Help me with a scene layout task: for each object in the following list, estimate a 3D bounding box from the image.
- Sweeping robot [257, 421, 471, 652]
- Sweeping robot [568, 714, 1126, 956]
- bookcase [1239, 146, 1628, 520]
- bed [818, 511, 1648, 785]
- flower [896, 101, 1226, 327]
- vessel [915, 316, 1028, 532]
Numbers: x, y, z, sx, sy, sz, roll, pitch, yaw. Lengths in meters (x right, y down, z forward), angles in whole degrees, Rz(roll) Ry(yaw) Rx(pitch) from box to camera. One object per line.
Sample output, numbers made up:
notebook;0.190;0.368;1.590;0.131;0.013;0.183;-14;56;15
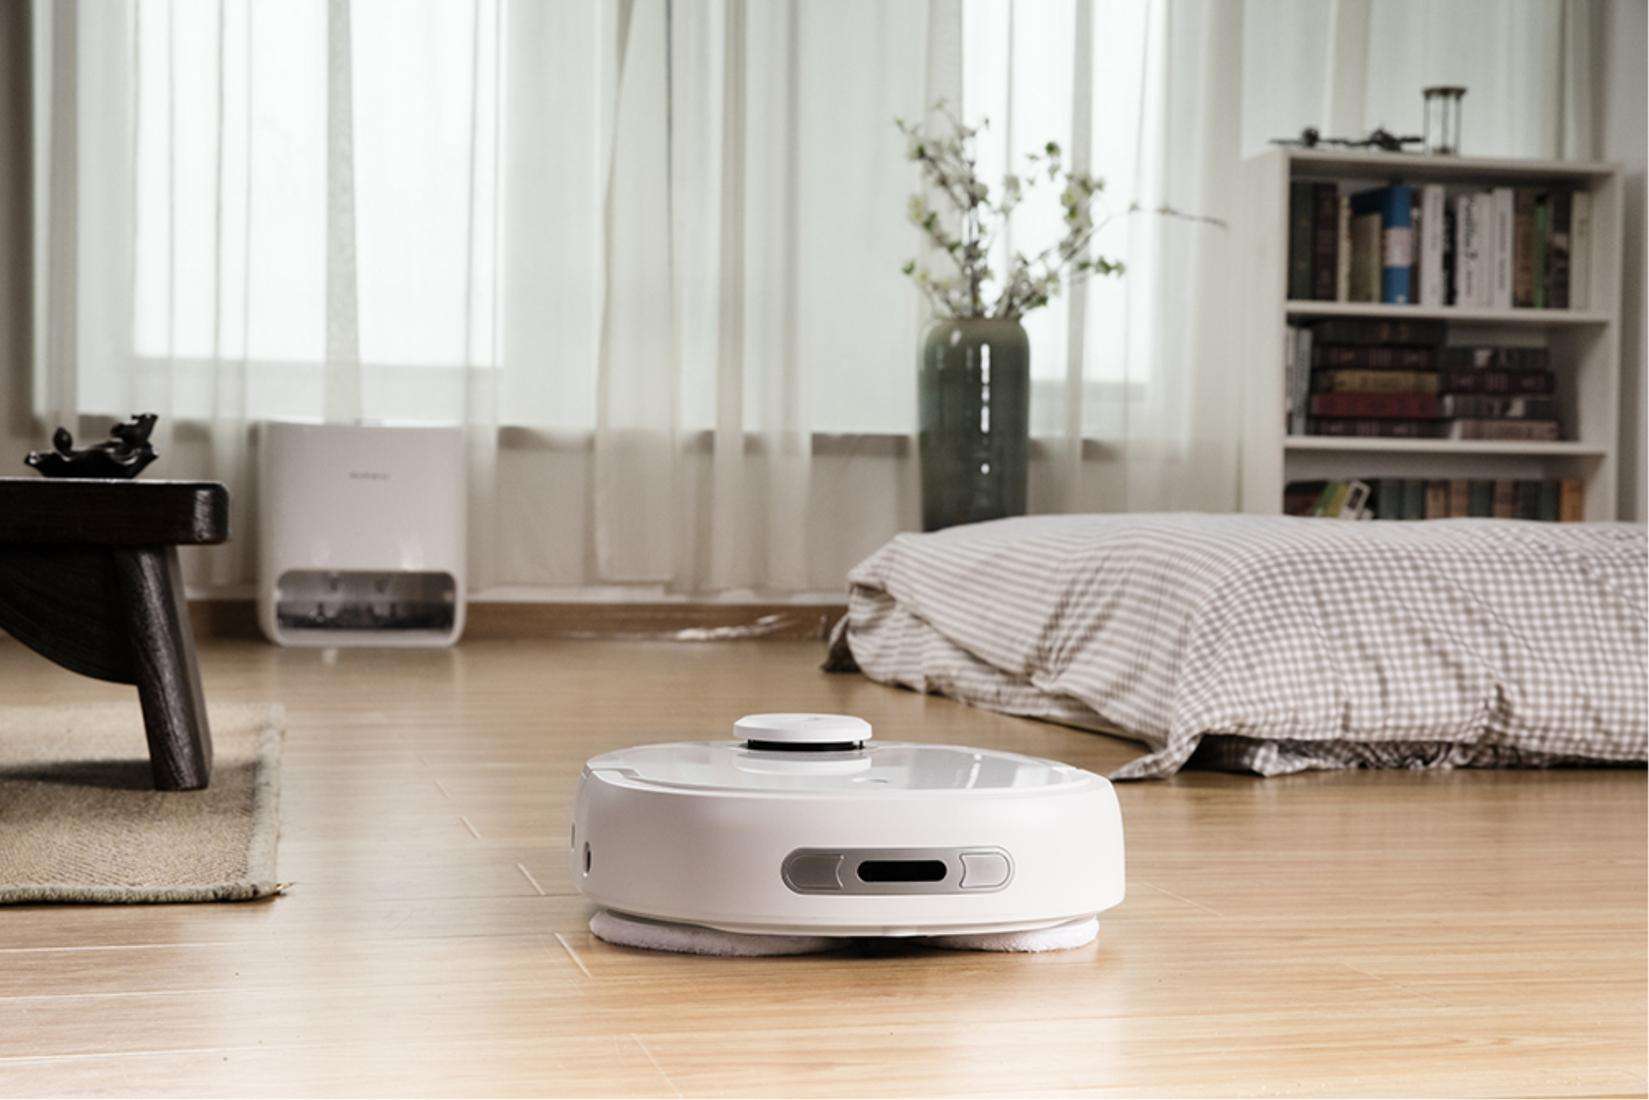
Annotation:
Sweeping robot;-1.299;-0.052;4.180;0.668;0.534;0.635;0;5;-20
Sweeping robot;0.023;0.269;1.505;0.528;0.196;0.229;1;6;2
bookcase;1.676;-0.604;4.294;1.170;1.090;0.399;1;-2;-4
bed;0.584;0.136;2.673;0.778;0.407;1.368;-4;7;-41
flower;0.571;-0.886;4.233;0.680;0.449;0.638;5;7;2
vessel;0.385;-0.324;4.018;0.273;0.537;0.139;1;6;3
